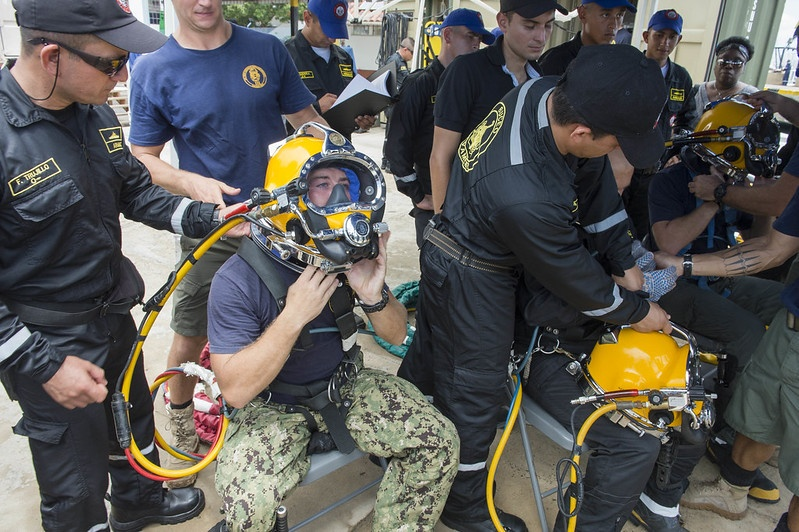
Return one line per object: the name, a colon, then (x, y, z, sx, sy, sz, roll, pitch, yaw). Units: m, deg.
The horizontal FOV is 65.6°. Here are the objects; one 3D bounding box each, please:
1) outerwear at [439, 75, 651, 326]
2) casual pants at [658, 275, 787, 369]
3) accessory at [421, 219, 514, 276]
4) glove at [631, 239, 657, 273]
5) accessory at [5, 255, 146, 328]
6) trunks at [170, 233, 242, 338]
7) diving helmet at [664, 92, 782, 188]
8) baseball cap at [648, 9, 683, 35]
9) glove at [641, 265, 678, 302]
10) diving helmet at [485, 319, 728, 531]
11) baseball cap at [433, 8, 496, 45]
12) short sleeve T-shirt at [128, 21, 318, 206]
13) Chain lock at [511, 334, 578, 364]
outerwear: (0.697, -0.428, 3.801, 1.407, 1.312, 1.151, 5, 54, 7)
casual pants: (2.290, 0.315, 4.277, 0.555, 0.395, 0.923, -3, 29, -34)
accessory: (0.384, -0.068, 3.616, 0.361, 0.105, 0.331, 29, 6, -17)
glove: (1.528, -0.050, 3.935, 0.162, 0.115, 0.219, 34, -7, 6)
accessory: (-1.627, 0.110, 3.209, 0.466, 0.153, 0.324, -14, 48, -34)
trunks: (-1.193, -0.005, 4.048, 0.509, 0.285, 0.384, 6, 31, -15)
diving helmet: (2.302, -0.912, 4.425, 0.665, 0.564, 0.574, 18, 19, 25)
baseball cap: (2.502, -2.295, 5.873, 0.215, 0.176, 0.309, 21, 19, -8)
glove: (1.613, 0.099, 3.868, 0.280, 0.170, 0.104, -40, -3, -24)
diving helmet: (1.243, 1.097, 3.950, 1.095, 1.409, 0.642, 14, -3, 8)
baseball cap: (0.584, -2.068, 5.415, 0.454, 0.249, 0.300, 3, 27, -5)
short sleeve T-shirt: (-1.083, -0.888, 3.702, 1.049, 0.900, 0.379, -23, 26, -23)
Chain lock: (0.857, 0.498, 3.739, 0.277, 0.201, 0.067, -6, 3, 11)
